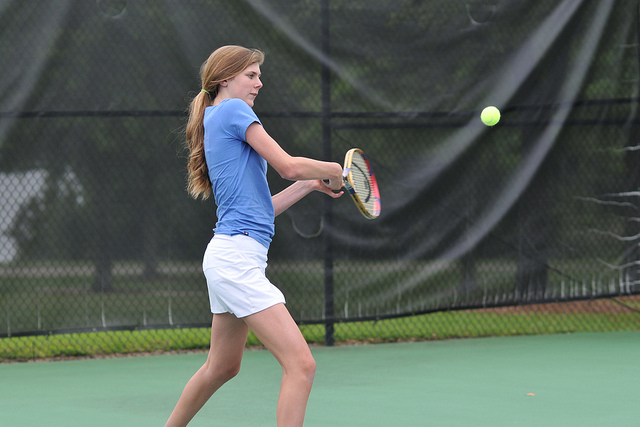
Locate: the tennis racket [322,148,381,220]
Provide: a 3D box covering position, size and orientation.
[{"bbox_3d":[0.315,-0.222,6.226,0.249,0.554,0.817,0,10,5],"label":"tennis racket"}]

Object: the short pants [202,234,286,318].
[{"bbox_3d":[-0.474,0.343,5.702,0.521,0.434,0.398,2,5,42],"label":"short pants"}]

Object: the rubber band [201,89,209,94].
[{"bbox_3d":[-0.826,-0.878,5.882,0.036,0.031,0.096,-6,12,-29],"label":"rubber band"}]

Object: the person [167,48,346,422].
[{"bbox_3d":[-0.490,0.165,5.751,1.050,2.611,0.605,3,10,21],"label":"person"}]

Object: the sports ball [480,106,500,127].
[{"bbox_3d":[1.715,-0.984,8.292,0.152,0.180,0.165,-4,6,0],"label":"sports ball"}]
